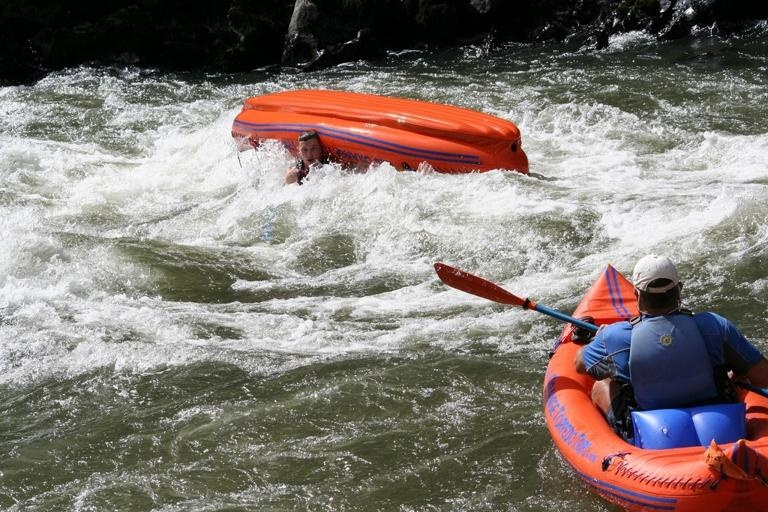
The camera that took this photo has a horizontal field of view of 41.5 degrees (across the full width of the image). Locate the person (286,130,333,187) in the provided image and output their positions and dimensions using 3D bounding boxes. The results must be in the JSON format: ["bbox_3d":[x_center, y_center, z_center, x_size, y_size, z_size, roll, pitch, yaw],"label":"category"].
[{"bbox_3d":[-0.942,-1.307,13.484,0.763,0.688,0.382,-12,-29,2],"label":"person"}]

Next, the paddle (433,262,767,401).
[{"bbox_3d":[2.199,0.778,9.999,3.536,0.311,0.190,21,11,20],"label":"paddle"}]

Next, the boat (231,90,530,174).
[{"bbox_3d":[-0.016,-1.712,13.529,3.330,0.647,1.533,6,16,20],"label":"boat"}]
